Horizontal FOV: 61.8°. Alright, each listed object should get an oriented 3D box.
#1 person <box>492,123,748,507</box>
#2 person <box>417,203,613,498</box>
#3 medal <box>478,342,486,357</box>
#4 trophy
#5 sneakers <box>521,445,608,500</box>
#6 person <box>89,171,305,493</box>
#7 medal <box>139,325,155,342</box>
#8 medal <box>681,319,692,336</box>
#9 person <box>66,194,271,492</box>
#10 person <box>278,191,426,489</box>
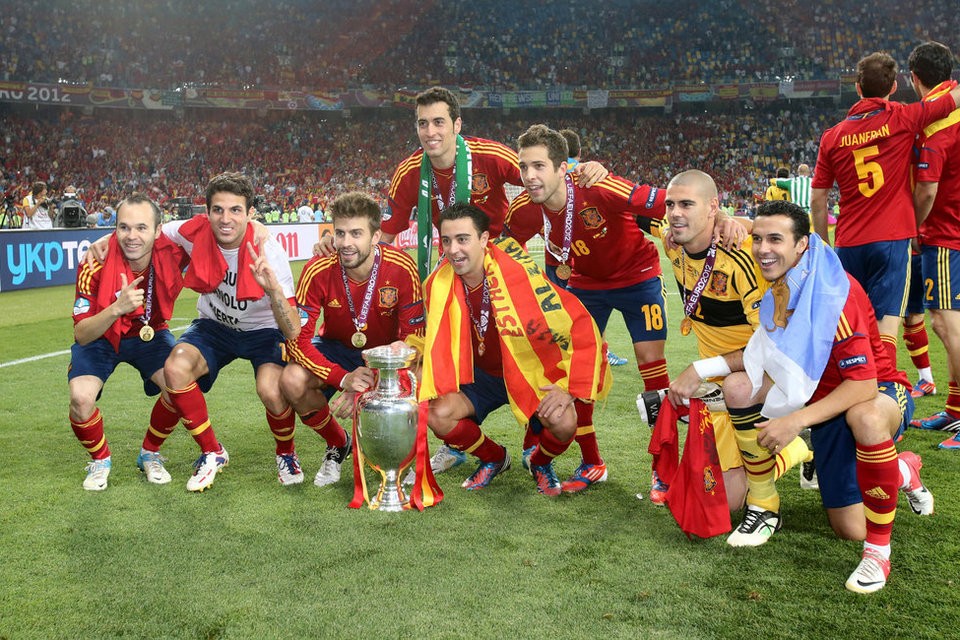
[{"bbox_3d":[0.787,-0.187,6.066,1.085,2.997,1.203,-1,5,-15],"label":"person"},{"bbox_3d":[0.221,0.217,5.399,1.144,1.908,0.847,-2,0,11],"label":"person"},{"bbox_3d":[0.012,0.198,5.405,0.029,0.106,0.018,28,53,16],"label":"medal"},{"bbox_3d":[-0.607,0.681,5.139,0.422,1.027,0.326,-1,5,-6],"label":"trophy"},{"bbox_3d":[0.575,0.981,5.336,0.535,0.300,0.210,-3,0,16],"label":"sneakers"},{"bbox_3d":[-1.815,0.044,5.727,1.449,2.124,1.124,8,13,29],"label":"person"},{"bbox_3d":[-2.286,0.090,5.497,0.099,0.109,0.021,0,3,-13],"label":"medal"},{"bbox_3d":[1.346,0.048,5.225,0.098,0.151,0.035,-1,-10,25],"label":"medal"},{"bbox_3d":[-2.421,0.074,5.620,0.678,2.040,0.738,-2,5,-23],"label":"person"},{"bbox_3d":[-0.889,-0.013,5.566,0.759,2.134,0.850,-2,5,-24],"label":"person"}]
